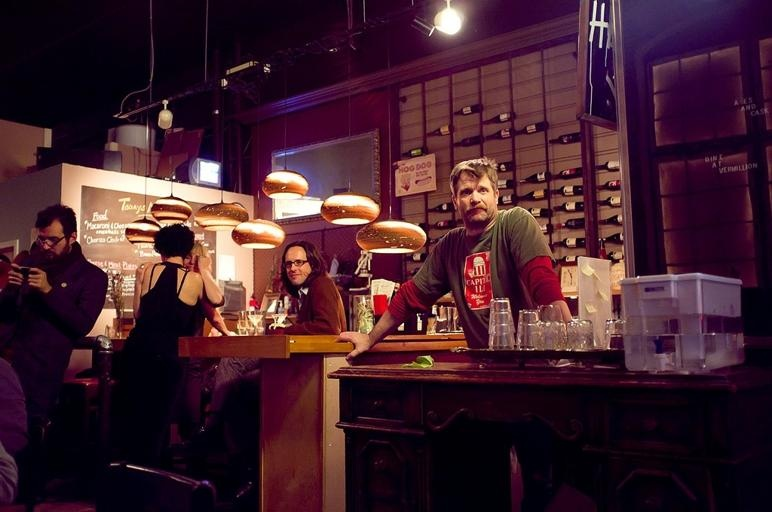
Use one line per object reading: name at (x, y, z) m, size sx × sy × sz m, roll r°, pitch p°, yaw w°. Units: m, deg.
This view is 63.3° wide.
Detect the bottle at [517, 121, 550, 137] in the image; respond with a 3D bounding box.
bottle at (1.688, -1.497, 7.328) m, size 0.395 × 0.129 × 0.123 m, roll -8°, pitch -13°, yaw 40°

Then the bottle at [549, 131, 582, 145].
bottle at (2.007, -1.329, 7.091) m, size 0.359 × 0.110 × 0.096 m, roll -8°, pitch -13°, yaw 42°

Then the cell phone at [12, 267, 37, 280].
cell phone at (-2.493, 0.110, 4.359) m, size 0.114 × 0.109 × 0.027 m, roll 7°, pitch 3°, yaw 6°

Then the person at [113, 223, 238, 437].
person at (-1.556, 0.502, 4.627) m, size 0.680 × 1.547 × 1.043 m, roll 3°, pitch -10°, yaw -15°

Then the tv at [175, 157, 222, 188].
tv at (-2.833, -1.255, 9.560) m, size 0.493 × 0.358 × 0.485 m, roll -3°, pitch -3°, yaw 37°

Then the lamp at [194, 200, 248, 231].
lamp at (-1.608, -0.337, 6.118) m, size 0.358 × 0.176 × 0.361 m, roll -5°, pitch -7°, yaw 11°

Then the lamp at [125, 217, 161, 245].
lamp at (-2.764, -0.286, 7.168) m, size 0.376 × 0.352 × 0.380 m, roll -2°, pitch -5°, yaw 25°

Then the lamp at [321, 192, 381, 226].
lamp at (-0.304, -0.432, 5.691) m, size 0.572 × 0.283 × 0.575 m, roll 0°, pitch -2°, yaw 0°

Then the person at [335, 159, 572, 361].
person at (0.466, 0.016, 3.713) m, size 1.413 × 1.104 × 0.762 m, roll -12°, pitch -11°, yaw 33°

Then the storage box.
storage box at (1.335, 0.288, 2.782) m, size 0.510 × 0.386 × 0.364 m, roll 1°, pitch -2°, yaw -44°

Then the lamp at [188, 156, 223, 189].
lamp at (-2.746, -1.273, 9.526) m, size 0.220 × 0.396 × 0.572 m, roll -7°, pitch -12°, yaw 37°

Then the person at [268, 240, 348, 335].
person at (-0.604, 0.391, 4.979) m, size 0.593 × 0.862 × 0.817 m, roll 2°, pitch -33°, yaw -14°

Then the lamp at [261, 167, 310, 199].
lamp at (-0.937, -0.664, 5.954) m, size 0.314 × 0.233 × 0.313 m, roll -2°, pitch -8°, yaw 6°
